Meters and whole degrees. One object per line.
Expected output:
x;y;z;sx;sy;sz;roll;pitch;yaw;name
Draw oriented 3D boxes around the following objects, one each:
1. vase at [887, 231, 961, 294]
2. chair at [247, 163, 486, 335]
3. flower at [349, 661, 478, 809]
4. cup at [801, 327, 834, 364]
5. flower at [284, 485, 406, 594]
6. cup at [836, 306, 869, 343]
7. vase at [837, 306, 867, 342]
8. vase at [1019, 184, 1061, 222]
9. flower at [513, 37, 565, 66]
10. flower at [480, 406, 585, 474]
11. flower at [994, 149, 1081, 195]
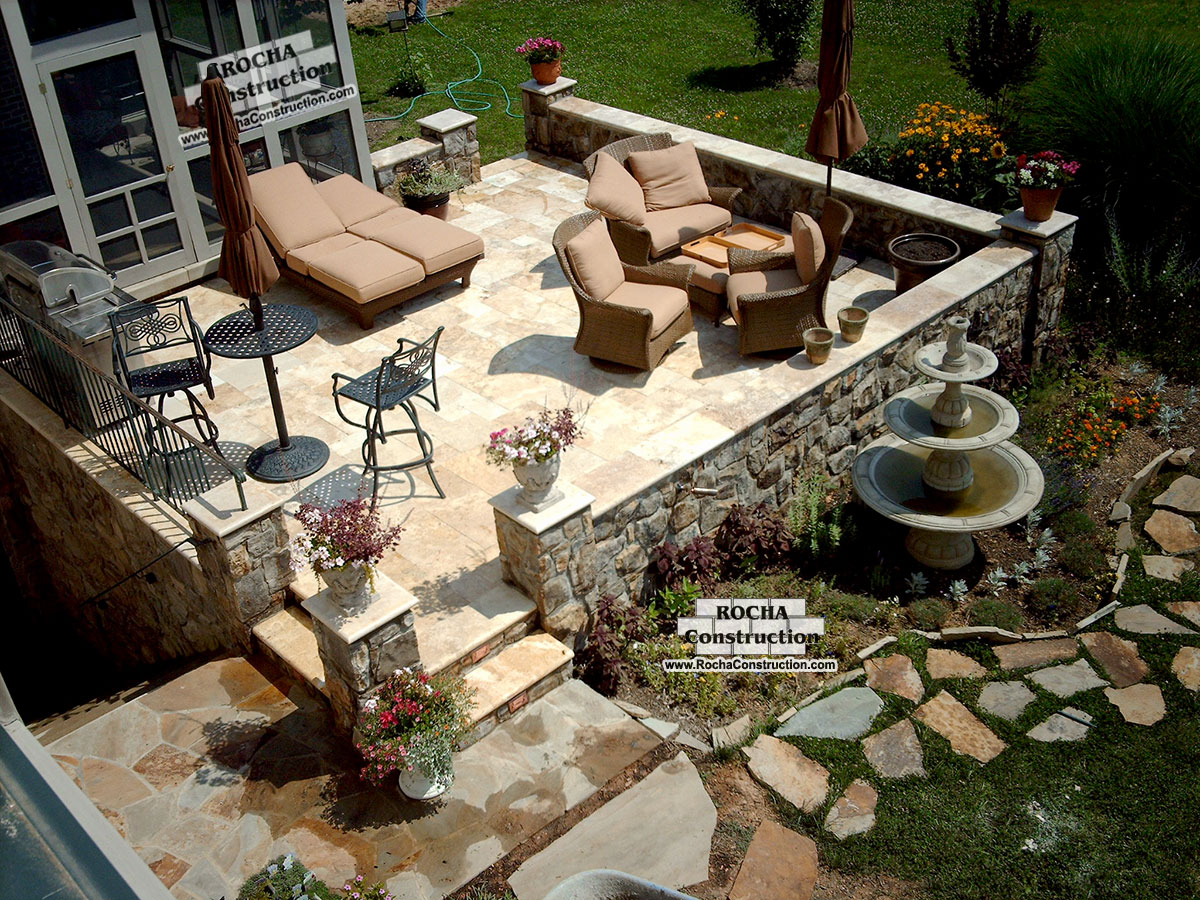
3.570;-2.198;9.619;0.796;0.515;0.731;-1;41;3;vase
-2.791;-2.384;9.835;2.596;1.145;1.909;35;51;26;chair
-1.264;1.868;5.980;0.839;0.878;0.885;20;39;5;flower
2.073;-1.019;8.446;0.333;0.296;0.332;-2;35;2;cup
-1.879;0.683;6.325;0.584;0.507;0.519;-25;60;-25;flower
2.474;-1.248;8.654;0.342;0.294;0.340;-3;35;2;cup
2.467;-1.253;8.646;0.331;0.285;0.330;-1;35;6;vase
4.753;-2.729;9.433;0.397;0.324;0.383;3;33;9;vase
-0.880;-5.804;12.600;0.565;0.322;0.542;-10;37;-6;flower
-0.437;0.043;6.395;0.773;0.301;0.520;-28;30;-1;flower
4.867;-3.134;9.689;0.835;0.374;0.781;6;30;21;flower
